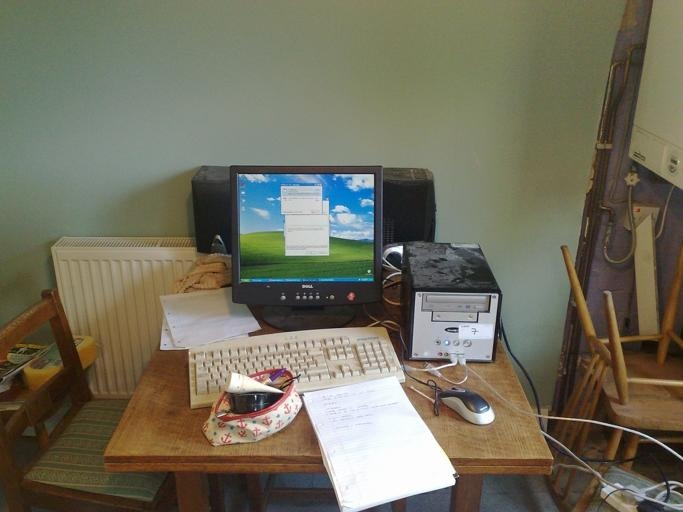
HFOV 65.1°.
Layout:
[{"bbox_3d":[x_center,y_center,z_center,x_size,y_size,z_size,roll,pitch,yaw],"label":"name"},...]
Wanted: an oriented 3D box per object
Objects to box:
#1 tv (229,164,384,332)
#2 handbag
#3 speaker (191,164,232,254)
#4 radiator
[{"bbox_3d":[-0.125,-0.040,1.906,0.580,0.619,0.243,0,10,-1],"label":"tv"},{"bbox_3d":[-0.246,0.439,1.523,0.248,0.090,0.186,-18,39,-25],"label":"handbag"},{"bbox_3d":[-0.566,-0.197,2.360,0.170,0.385,0.230,-5,14,-14],"label":"speaker"},{"bbox_3d":[-0.920,0.213,2.266,0.720,0.799,0.255,2,27,-2],"label":"radiator"}]
